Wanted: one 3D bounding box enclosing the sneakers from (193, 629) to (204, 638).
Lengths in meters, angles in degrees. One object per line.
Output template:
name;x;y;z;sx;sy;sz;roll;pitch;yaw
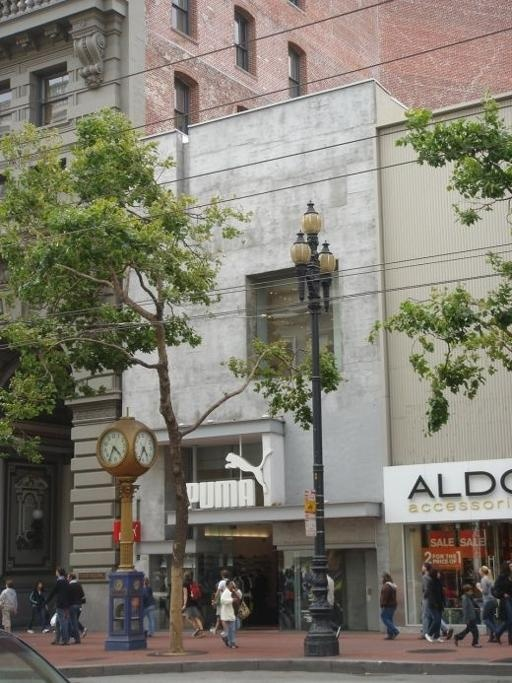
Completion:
sneakers;-1.366;6.780;29.449;0.190;0.101;0.242;6;-12;-30

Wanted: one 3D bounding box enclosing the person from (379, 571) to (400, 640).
person;2.810;5.647;27.025;0.335;1.393;1.038;-3;-10;5

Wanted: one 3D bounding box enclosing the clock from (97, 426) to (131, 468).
clock;-2.991;2.218;26.718;0.839;0.919;0.184;-6;-18;36
